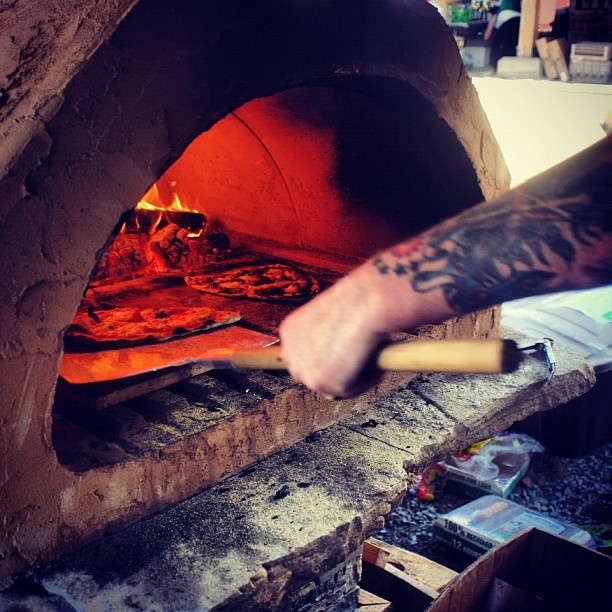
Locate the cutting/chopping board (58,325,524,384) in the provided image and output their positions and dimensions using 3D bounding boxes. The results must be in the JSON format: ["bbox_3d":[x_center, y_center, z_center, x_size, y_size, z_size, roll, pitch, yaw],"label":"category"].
[{"bbox_3d":[-0.169,0.150,1.908,0.714,0.055,0.340,-3,9,21],"label":"cutting/chopping board"}]
